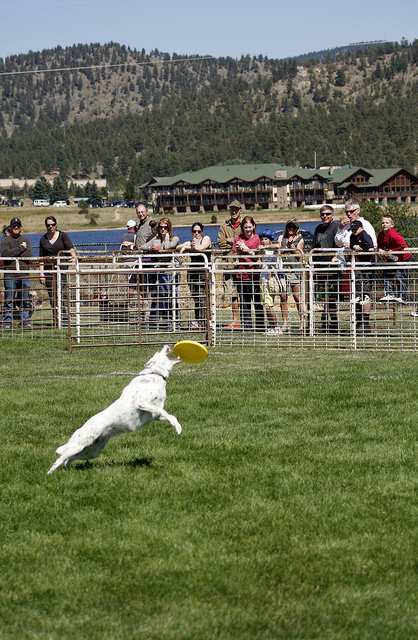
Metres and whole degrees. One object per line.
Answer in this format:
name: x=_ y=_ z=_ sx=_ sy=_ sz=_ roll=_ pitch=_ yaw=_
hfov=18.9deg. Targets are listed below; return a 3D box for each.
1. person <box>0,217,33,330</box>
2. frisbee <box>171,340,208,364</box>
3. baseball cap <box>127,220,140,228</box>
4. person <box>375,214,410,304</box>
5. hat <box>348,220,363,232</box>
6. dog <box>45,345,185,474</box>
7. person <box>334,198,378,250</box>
person: x=-2.681 y=-0.664 z=17.537 sx=0.448 sy=1.361 sz=2.470 roll=-4 pitch=10 yaw=-8
frisbee: x=-0.122 y=0.176 z=8.496 sx=0.166 sy=0.036 sz=0.169 roll=31 pitch=-36 yaw=-14
baseball cap: x=-1.240 y=-1.551 z=20.561 sx=0.160 sy=0.103 sz=0.120 roll=-11 pitch=8 yaw=-13
person: x=2.288 y=-0.765 z=15.691 sx=0.402 sy=0.975 sz=1.426 roll=-1 pitch=10 yaw=8
hat: x=1.947 y=-1.243 z=16.567 sx=0.157 sy=0.113 sz=0.265 roll=-1 pitch=10 yaw=8
dog: x=-0.593 y=0.527 z=8.030 sx=0.803 sy=0.648 sz=0.523 roll=-3 pitch=9 yaw=-4
person: x=1.944 y=-1.058 z=16.617 sx=0.517 sy=0.983 sz=0.427 roll=-2 pitch=-1 yaw=23
